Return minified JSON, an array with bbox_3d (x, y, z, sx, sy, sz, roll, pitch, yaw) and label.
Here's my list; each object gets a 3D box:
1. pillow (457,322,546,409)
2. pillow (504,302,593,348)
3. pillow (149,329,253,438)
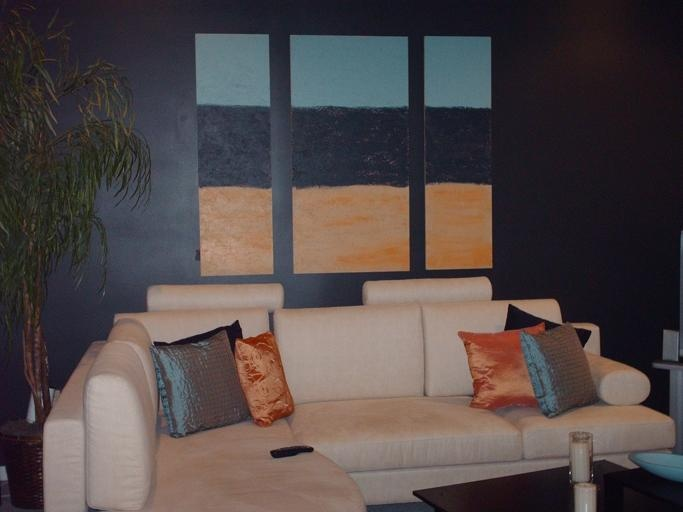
[{"bbox_3d":[1.034,0.719,4.434,0.466,0.251,0.401,-8,37,-6],"label":"pillow"},{"bbox_3d":[1.353,0.452,4.765,0.360,0.144,0.350,9,2,-34],"label":"pillow"},{"bbox_3d":[-0.819,0.755,4.035,0.534,0.546,0.162,-9,-8,-38],"label":"pillow"}]
